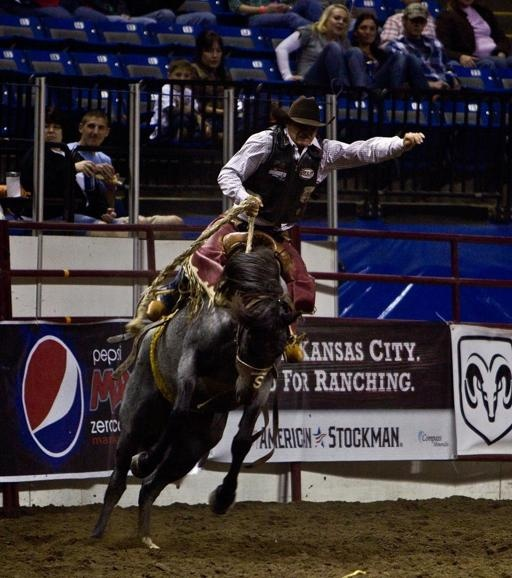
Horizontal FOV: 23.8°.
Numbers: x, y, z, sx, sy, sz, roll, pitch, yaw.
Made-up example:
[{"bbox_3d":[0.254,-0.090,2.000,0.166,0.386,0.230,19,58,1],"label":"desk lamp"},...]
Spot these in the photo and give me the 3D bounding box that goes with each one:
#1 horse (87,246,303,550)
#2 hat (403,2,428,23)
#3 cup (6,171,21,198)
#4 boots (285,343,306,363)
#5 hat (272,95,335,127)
[{"bbox_3d":[-0.418,0.831,8.761,0.837,1.644,2.821,18,-27,-14],"label":"horse"},{"bbox_3d":[2.021,-3.519,15.433,0.264,0.172,0.347,3,5,0],"label":"hat"},{"bbox_3d":[-2.329,-1.007,11.835,0.136,0.247,0.402,-1,1,-10],"label":"cup"},{"bbox_3d":[0.279,0.444,8.445,0.131,0.134,0.139,-3,11,8],"label":"boots"},{"bbox_3d":[0.309,-1.248,8.805,0.294,0.116,0.298,5,2,-8],"label":"hat"}]
